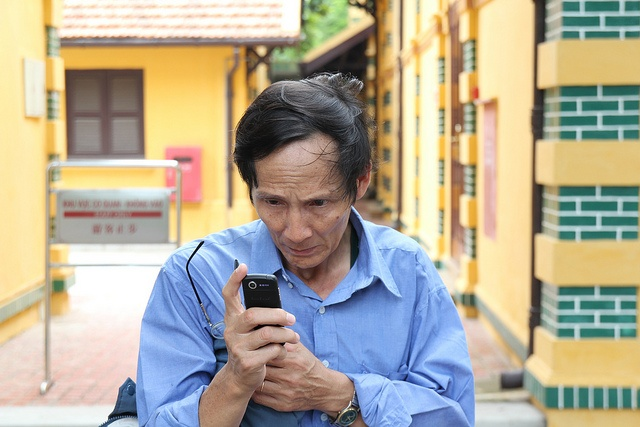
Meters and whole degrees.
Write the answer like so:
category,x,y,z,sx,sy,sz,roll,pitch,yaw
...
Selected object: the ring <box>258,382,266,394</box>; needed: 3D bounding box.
category,x,y,z,sx,sy,sz,roll,pitch,yaw
ring,-0.286,0.862,3.986,0.015,0.044,0.035,13,-10,-8
